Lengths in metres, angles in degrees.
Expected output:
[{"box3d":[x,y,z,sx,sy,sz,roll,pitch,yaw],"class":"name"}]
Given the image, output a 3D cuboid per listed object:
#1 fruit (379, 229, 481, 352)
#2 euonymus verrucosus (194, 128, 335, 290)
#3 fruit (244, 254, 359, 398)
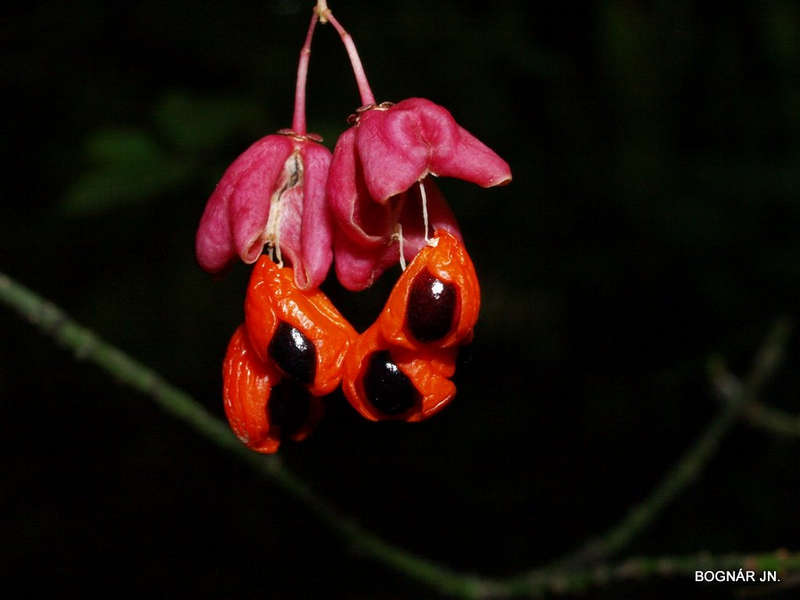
[{"box3d":[0.100,0.008,2.055,0.218,0.296,0.151,31,13,-3],"class":"fruit"},{"box3d":[-0.331,-0.239,2.099,0.330,0.402,0.133,10,-4,14],"class":"euonymus verrucosus"},{"box3d":[-0.257,0.055,2.071,0.247,0.293,0.202,13,36,35],"class":"fruit"}]
